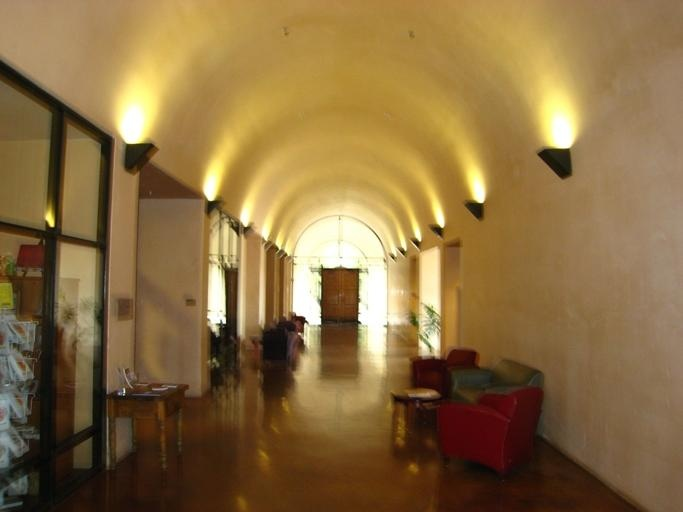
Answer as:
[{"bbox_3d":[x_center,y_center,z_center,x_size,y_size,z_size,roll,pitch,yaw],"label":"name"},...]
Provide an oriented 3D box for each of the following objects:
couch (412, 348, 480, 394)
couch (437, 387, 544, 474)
[{"bbox_3d":[1.895,2.112,9.546,1.216,0.898,1.267,1,-4,17],"label":"couch"},{"bbox_3d":[1.925,2.127,6.771,1.267,1.069,1.284,5,-5,-25],"label":"couch"}]
